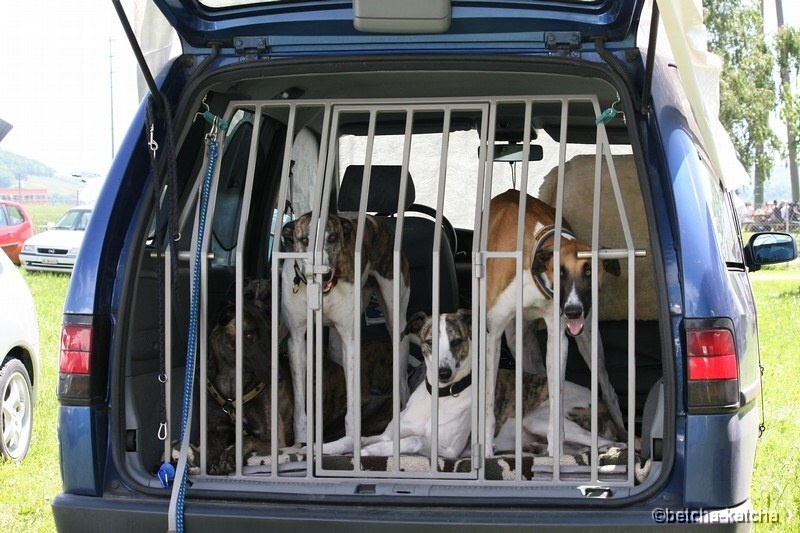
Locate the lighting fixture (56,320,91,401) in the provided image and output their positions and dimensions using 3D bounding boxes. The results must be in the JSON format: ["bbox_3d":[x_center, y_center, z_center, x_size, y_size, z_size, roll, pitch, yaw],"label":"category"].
[{"bbox_3d":[-1.684,0.472,4.220,0.186,0.437,0.074,-2,-12,8],"label":"lighting fixture"}]

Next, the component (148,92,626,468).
[{"bbox_3d":[0.113,0.136,5.478,1.919,1.514,2.211,-1,-10,3],"label":"component"}]
